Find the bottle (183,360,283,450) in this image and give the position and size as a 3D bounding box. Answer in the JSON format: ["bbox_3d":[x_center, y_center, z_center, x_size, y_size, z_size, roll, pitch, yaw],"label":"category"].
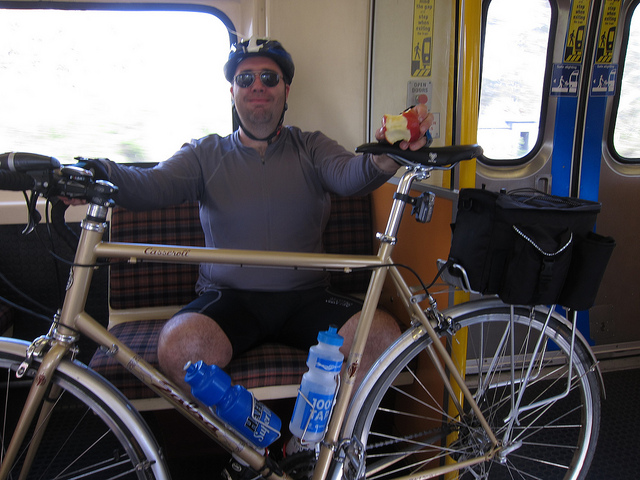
[{"bbox_3d":[-0.329,0.590,1.970,0.155,0.458,0.152,-28,27,15],"label":"bottle"}]

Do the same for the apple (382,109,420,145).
[{"bbox_3d":[0.295,-0.403,1.905,0.157,0.082,0.132,-9,41,-3],"label":"apple"}]

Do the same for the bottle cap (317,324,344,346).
[{"bbox_3d":[0.043,0.359,1.946,0.070,0.051,0.070,16,-6,-38],"label":"bottle cap"}]

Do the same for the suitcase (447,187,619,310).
[{"bbox_3d":[0.834,-0.003,2.109,0.549,0.442,0.428,10,18,18],"label":"suitcase"}]

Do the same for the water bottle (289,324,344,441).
[{"bbox_3d":[-0.005,0.532,1.988,0.134,0.429,0.141,14,4,-1],"label":"water bottle"}]

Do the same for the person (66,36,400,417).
[{"bbox_3d":[-0.331,0.034,2.369,1.355,2.045,0.984,-4,2,-5],"label":"person"}]
